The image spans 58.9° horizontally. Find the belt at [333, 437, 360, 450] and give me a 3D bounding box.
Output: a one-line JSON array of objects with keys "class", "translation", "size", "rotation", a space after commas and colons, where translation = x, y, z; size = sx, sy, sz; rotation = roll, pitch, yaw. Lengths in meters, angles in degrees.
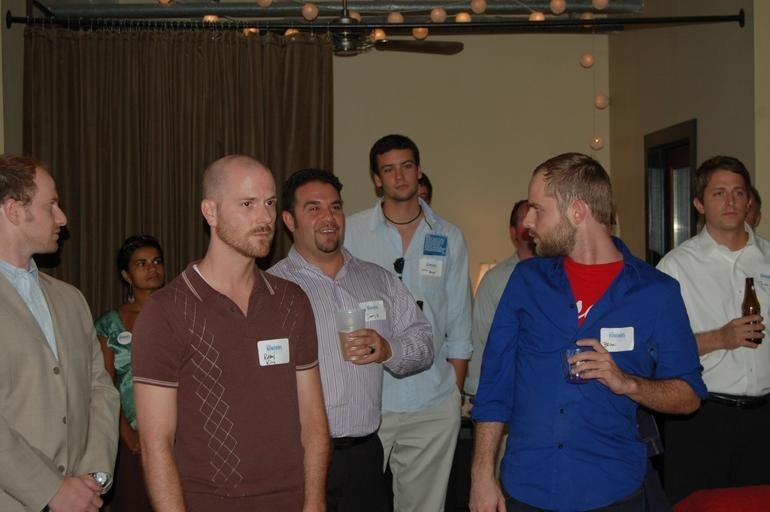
[{"class": "belt", "translation": [-0.209, 1.067, 3.844], "size": [0.111, 0.050, 0.086], "rotation": [2, -5, -10]}]

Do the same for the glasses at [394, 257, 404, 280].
[{"class": "glasses", "translation": [0.098, 0.086, 4.617], "size": [0.065, 0.129, 0.055], "rotation": [2, 8, 21]}]

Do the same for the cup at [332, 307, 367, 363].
[{"class": "cup", "translation": [-0.192, 0.414, 3.677], "size": [0.216, 0.385, 0.222], "rotation": [-1, -7, 0]}]

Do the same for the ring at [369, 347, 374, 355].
[{"class": "ring", "translation": [-0.074, 0.521, 3.717], "size": [0.024, 0.037, 0.010], "rotation": [2, -14, -13]}]

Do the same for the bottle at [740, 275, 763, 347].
[{"class": "bottle", "translation": [2.368, 0.353, 4.396], "size": [0.110, 0.414, 0.429], "rotation": [-1, 2, 28]}]
